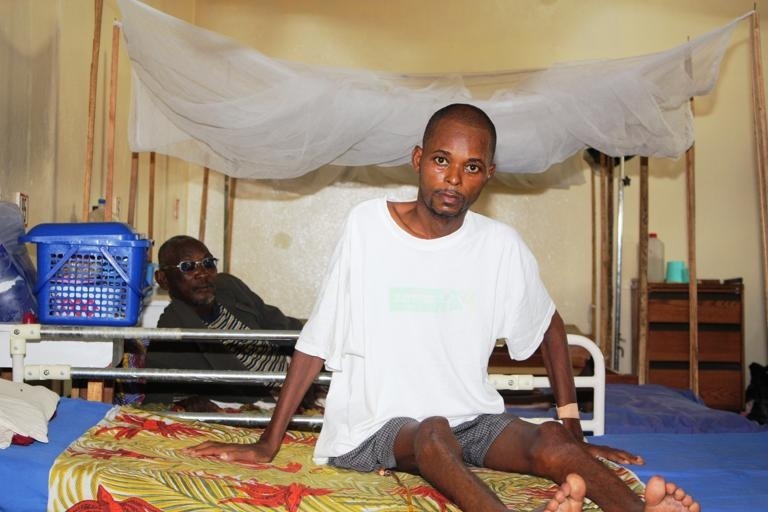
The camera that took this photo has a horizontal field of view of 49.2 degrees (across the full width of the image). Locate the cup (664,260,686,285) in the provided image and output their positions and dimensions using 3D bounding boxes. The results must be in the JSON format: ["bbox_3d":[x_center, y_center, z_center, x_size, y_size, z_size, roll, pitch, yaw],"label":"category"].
[{"bbox_3d":[2.685,0.140,7.707,0.200,0.197,0.207,0,-4,0],"label":"cup"}]

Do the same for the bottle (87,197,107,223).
[{"bbox_3d":[-2.034,-0.337,5.987,0.181,0.175,0.057,5,-10,-25],"label":"bottle"}]

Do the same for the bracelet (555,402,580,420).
[{"bbox_3d":[0.934,0.784,4.264,0.093,0.073,0.091,-6,-2,-11],"label":"bracelet"}]

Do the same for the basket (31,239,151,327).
[{"bbox_3d":[-1.588,0.143,4.593,0.558,0.388,0.469,1,-2,-15],"label":"basket"}]
